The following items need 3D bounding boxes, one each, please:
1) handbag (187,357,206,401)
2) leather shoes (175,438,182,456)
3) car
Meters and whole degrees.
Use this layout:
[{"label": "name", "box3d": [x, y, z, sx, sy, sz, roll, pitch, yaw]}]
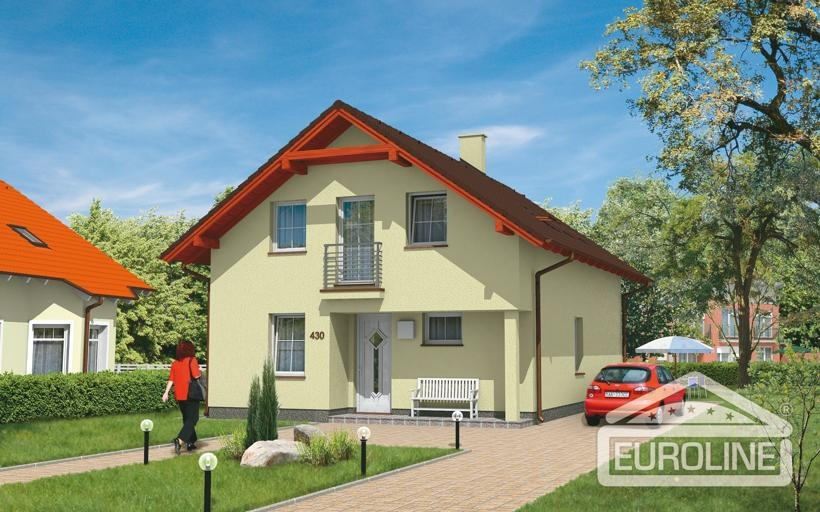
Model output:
[{"label": "handbag", "box3d": [-6.135, 3.622, 25.239, 0.381, 1.160, 0.595, 0, -13, -6]}, {"label": "leather shoes", "box3d": [-6.512, 5.365, 24.582, 0.157, 0.496, 0.221, -7, -15, 27]}, {"label": "car", "box3d": [7.606, 4.574, 29.315, 3.678, 1.936, 1.755, 9, -16, -37]}]
